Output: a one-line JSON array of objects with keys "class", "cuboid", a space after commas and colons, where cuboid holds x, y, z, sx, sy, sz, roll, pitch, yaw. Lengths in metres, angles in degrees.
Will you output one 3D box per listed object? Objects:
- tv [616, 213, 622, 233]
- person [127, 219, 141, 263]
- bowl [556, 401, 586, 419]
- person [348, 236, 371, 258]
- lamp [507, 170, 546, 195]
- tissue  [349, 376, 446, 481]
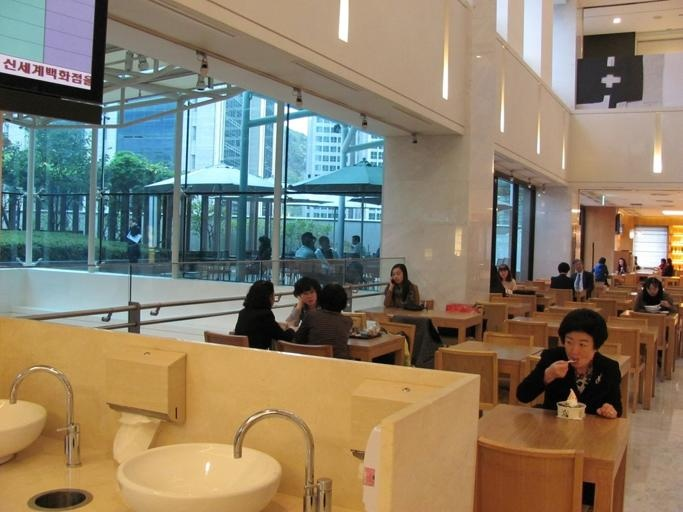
[{"class": "tv", "cuboid": [10.400, -1.278, 21.072, 0.098, 0.507, 0.652, 7, 4, 39]}, {"class": "person", "cuboid": [-5.891, -0.433, 15.864, 0.436, 1.157, 0.311, 3, 4, -12]}, {"class": "bowl", "cuboid": [1.193, 0.810, 2.913, 0.100, 0.051, 0.129, -1, -4, 18]}, {"class": "person", "cuboid": [0.436, -0.242, 14.478, 0.527, 0.989, 0.527, -1, 3, -18]}, {"class": "lamp", "cuboid": [4.762, -1.924, 14.337, 0.675, 0.234, 2.951, 6, 4, 24]}, {"class": "tissue ", "cuboid": [0.180, 0.548, 1.936, 0.298, 0.205, 0.138, 5, 4, 9]}]
